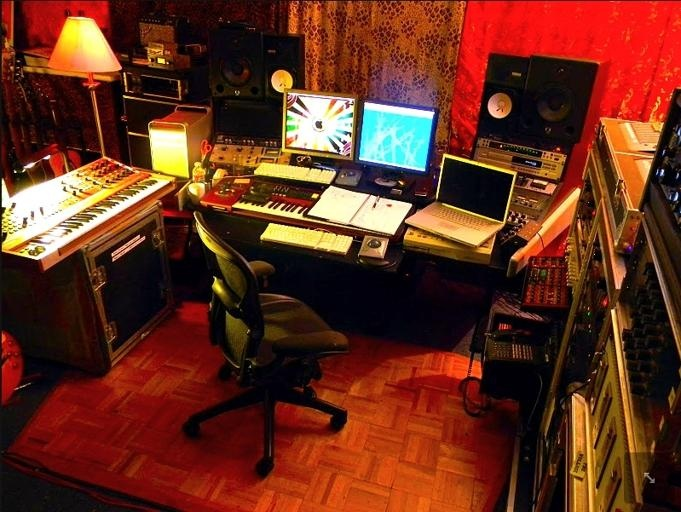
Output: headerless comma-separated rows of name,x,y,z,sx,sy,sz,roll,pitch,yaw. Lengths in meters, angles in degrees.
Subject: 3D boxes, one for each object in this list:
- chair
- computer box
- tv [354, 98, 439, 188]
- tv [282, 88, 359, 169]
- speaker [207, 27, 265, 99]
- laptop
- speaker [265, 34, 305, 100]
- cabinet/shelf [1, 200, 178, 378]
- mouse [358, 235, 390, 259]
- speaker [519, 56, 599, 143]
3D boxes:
chair,-0.378,0.444,2.730,0.875,1.293,0.680,12,31,14
computer box,-1.244,-0.908,4.014,0.276,0.484,0.471,9,32,5
tv,0.374,-0.764,3.512,0.572,0.535,0.120,15,34,13
tv,-0.147,-0.909,3.641,0.550,0.484,0.056,10,28,8
speaker,-0.747,-1.464,3.786,0.419,0.548,0.346,8,34,6
laptop,0.745,-0.351,3.119,0.481,0.350,0.443,21,36,31
speaker,-0.408,-1.308,3.737,0.268,0.481,0.231,-1,-3,8
cabinet/shelf,-1.551,0.209,3.093,0.553,0.780,0.776,9,33,15
mouse,0.207,-0.056,3.146,0.156,0.071,0.191,10,32,10
speaker,1.321,-0.966,3.100,0.408,0.603,0.317,14,36,22
